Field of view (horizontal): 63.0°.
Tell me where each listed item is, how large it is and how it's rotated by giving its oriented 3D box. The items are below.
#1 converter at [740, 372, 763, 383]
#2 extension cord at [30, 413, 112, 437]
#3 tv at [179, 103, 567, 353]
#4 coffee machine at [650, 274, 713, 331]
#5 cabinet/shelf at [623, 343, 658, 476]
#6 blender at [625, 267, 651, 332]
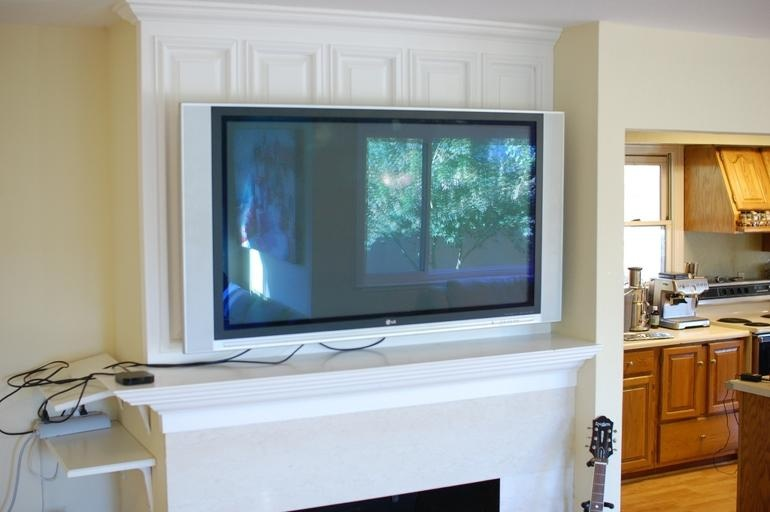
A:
[{"bbox_3d":[2.391,0.784,4.095,0.164,0.037,0.112,-8,7,-44],"label":"converter"},{"bbox_3d":[-1.814,0.989,3.684,0.370,0.091,0.145,-7,6,-33],"label":"extension cord"},{"bbox_3d":[0.016,-0.194,3.566,2.316,1.221,0.053,-3,5,-23],"label":"tv"},{"bbox_3d":[2.471,0.378,5.296,0.476,0.433,0.237,-5,5,-12],"label":"coffee machine"},{"bbox_3d":[1.969,1.185,4.999,0.347,1.033,0.300,1,8,-4],"label":"cabinet/shelf"},{"bbox_3d":[2.108,0.349,5.264,0.192,0.520,0.317,-2,5,21],"label":"blender"}]
